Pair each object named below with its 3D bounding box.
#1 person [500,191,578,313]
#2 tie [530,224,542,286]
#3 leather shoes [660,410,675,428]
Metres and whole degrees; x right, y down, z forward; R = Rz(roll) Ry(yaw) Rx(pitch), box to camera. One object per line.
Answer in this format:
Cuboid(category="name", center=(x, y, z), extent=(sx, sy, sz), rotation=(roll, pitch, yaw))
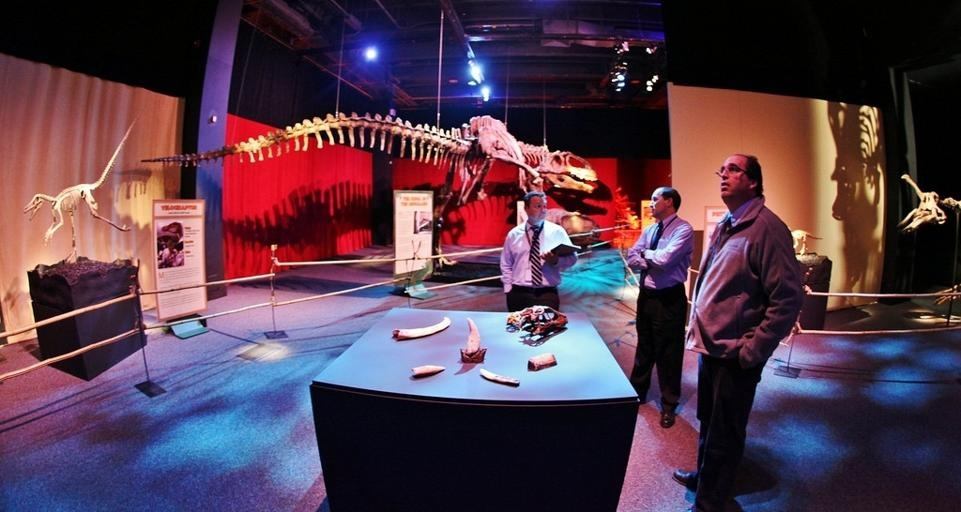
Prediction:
Cuboid(category="person", center=(0.927, -0.076, 8.785), extent=(1.171, 1.946, 0.658), rotation=(-3, 6, 6))
Cuboid(category="tie", center=(0.919, 0.002, 8.809), extent=(0.193, 0.976, 0.206), rotation=(-3, 6, 10))
Cuboid(category="leather shoes", center=(2.986, 2.593, 8.545), extent=(0.224, 0.215, 0.271), rotation=(-1, -17, 32))
